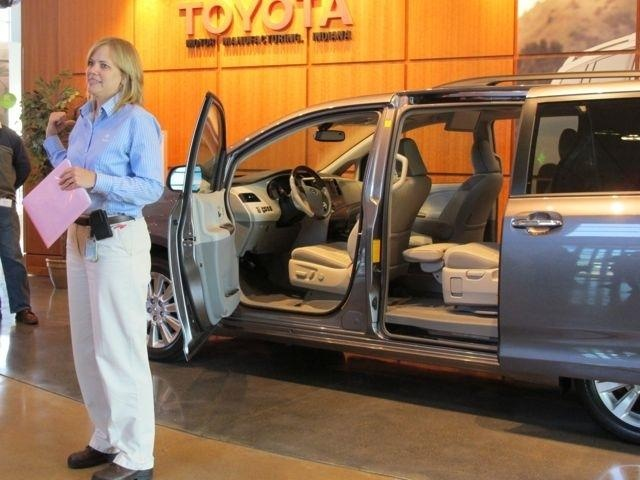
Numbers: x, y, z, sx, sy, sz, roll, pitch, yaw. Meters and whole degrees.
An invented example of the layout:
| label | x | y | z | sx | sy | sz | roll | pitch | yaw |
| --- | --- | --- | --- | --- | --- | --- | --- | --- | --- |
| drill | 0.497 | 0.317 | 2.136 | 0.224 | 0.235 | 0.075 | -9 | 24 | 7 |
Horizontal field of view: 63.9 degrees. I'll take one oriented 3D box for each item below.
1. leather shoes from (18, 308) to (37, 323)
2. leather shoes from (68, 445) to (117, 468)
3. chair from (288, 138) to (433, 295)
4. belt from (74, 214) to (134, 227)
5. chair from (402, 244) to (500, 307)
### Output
| label | x | y | z | sx | sy | sz | roll | pitch | yaw |
| --- | --- | --- | --- | --- | --- | --- | --- | --- | --- |
| leather shoes | -2.742 | 0.710 | 4.852 | 0.273 | 0.109 | 0.109 | 2 | 3 | 41 |
| leather shoes | -1.078 | 1.020 | 2.458 | 0.255 | 0.100 | 0.093 | 6 | -2 | -18 |
| chair | 0.089 | -0.246 | 3.716 | 0.899 | 1.068 | 0.616 | 5 | 22 | -38 |
| belt | -0.953 | -0.083 | 2.238 | 0.258 | 0.053 | 0.092 | 2 | 5 | 9 |
| chair | 0.932 | 0.194 | 3.283 | 0.678 | 0.345 | 0.572 | -1 | 9 | 28 |
